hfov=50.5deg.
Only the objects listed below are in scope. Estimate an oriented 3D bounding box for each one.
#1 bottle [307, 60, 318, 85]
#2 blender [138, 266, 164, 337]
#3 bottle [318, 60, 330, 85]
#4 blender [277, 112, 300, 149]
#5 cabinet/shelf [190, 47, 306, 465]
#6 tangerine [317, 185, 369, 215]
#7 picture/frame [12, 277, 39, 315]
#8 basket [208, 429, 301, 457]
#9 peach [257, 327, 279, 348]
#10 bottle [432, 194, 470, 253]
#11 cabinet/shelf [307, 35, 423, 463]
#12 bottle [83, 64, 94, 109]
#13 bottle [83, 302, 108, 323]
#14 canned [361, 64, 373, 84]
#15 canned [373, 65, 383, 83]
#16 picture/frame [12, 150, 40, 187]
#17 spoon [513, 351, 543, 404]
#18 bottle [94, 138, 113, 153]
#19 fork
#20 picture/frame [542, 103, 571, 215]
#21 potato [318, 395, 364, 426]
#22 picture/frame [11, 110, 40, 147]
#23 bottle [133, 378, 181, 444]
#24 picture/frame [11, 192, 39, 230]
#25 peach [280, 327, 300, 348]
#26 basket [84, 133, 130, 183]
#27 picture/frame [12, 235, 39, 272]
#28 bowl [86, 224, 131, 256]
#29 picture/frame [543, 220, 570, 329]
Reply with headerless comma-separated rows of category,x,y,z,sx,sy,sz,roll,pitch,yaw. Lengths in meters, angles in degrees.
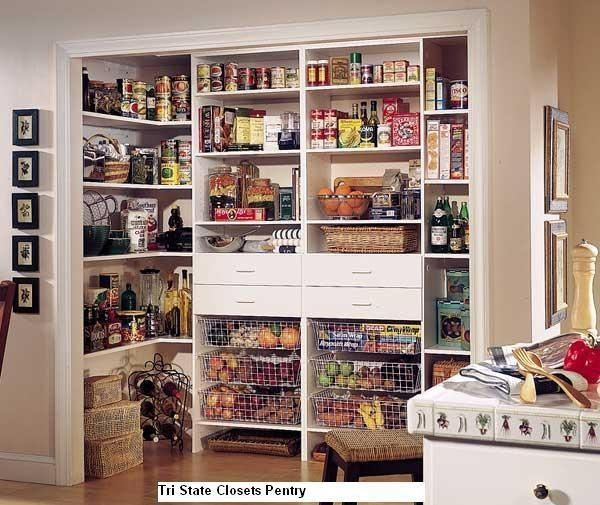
bottle,0.074,-1.095,3.912,0.066,0.138,0.039,-2,0,-4
blender,-1.077,0.351,4.569,0.195,0.505,0.191,3,-2,-45
bottle,0.159,-1.100,3.943,0.054,0.142,0.123,-1,1,33
blender,-0.070,-0.780,4.078,0.165,0.227,0.164,8,12,43
cabinet/shelf,-0.367,0.010,4.190,0.839,2.524,0.691,-2,0,4
tangerine,0.259,-0.301,3.993,0.226,0.133,0.222,0,-1,-8
picture/frame,-1.637,0.250,3.797,0.248,0.294,0.022,0,1,9
basket,-0.292,1.252,4.228,0.412,0.079,0.232,1,4,15
peach,-0.216,0.557,4.194,0.139,0.134,0.104,1,3,14
bottle,0.881,-0.165,3.772,0.225,0.282,0.198,-2,1,11
cabinet/shelf,0.470,-0.042,3.991,0.767,2.422,0.541,5,19,27
bottle,-1.343,-1.023,4.009,0.057,0.283,0.110,-2,1,-17
bottle,-1.313,0.380,4.045,0.126,0.118,0.124,0,-1,-16
canned,0.405,-1.081,3.875,0.068,0.111,0.091,-2,1,18
canned,0.472,-1.081,3.885,0.037,0.100,0.112,-2,1,-15
picture/frame,-1.644,-0.502,3.818,0.226,0.268,0.020,1,1,13
spoon,0.393,0.210,1.093,0.027,0.126,0.015,6,45,25
bottle,-1.293,-0.697,4.218,0.115,0.050,0.145,2,8,0
fork,0.409,0.200,1.072,0.051,0.022,0.151,-4,19,-17
picture/frame,1.531,-0.555,3.816,0.080,0.788,0.768,-1,1,21
potato,0.245,0.999,4.032,0.256,0.120,0.164,0,-2,4
picture/frame,-1.643,-0.745,3.814,0.232,0.275,0.030,1,0,15
bottle,-1.011,1.106,4.546,0.326,0.462,0.127,-6,9,-13
picture/frame,-1.648,-0.249,3.820,0.227,0.268,0.027,1,2,12
peach,-0.052,0.538,4.139,0.129,0.140,0.121,2,5,36
basket,-1.260,-0.615,4.162,0.371,0.343,0.278,1,3,5
picture/frame,-1.651,0.002,3.826,0.225,0.253,0.020,0,1,11
bowl,-1.227,-0.079,4.048,0.321,0.203,0.240,-2,1,-27
picture/frame,1.567,0.134,3.907,0.077,0.766,0.717,-1,3,20
